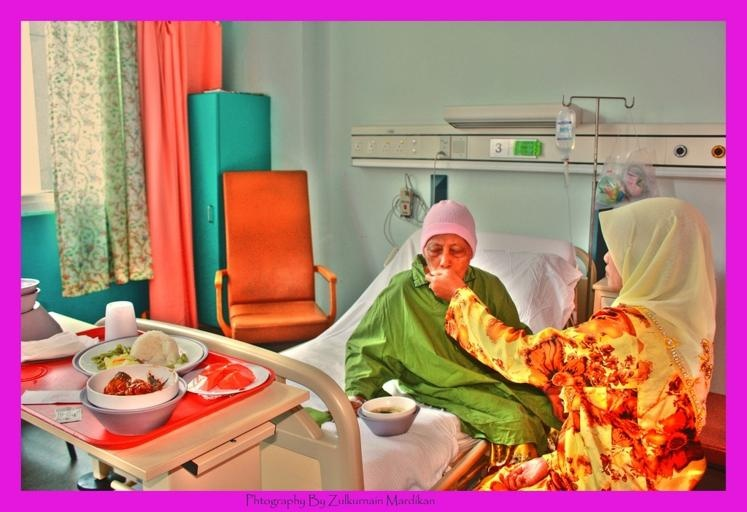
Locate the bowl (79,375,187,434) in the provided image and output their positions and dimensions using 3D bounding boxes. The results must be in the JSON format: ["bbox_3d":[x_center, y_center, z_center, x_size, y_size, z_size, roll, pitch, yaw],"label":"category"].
[{"bbox_3d":[-0.501,0.314,1.074,0.211,0.071,0.080,0,9,4],"label":"bowl"}]

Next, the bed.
[{"bbox_3d":[0.239,0.191,2.331,0.820,0.859,1.530,4,11,30],"label":"bed"}]

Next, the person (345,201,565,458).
[{"bbox_3d":[0.365,0.284,2.109,0.936,0.914,0.520,-9,10,-26],"label":"person"}]

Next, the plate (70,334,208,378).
[{"bbox_3d":[-0.593,0.250,1.346,0.160,0.037,0.159,3,12,-2],"label":"plate"}]

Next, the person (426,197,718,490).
[{"bbox_3d":[0.665,0.311,1.818,0.829,0.935,0.710,-3,3,5],"label":"person"}]

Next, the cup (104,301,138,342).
[{"bbox_3d":[-0.696,0.177,1.474,0.106,0.099,0.088,-1,6,-9],"label":"cup"}]

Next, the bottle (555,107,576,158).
[{"bbox_3d":[0.982,-0.622,2.735,0.092,0.261,0.162,3,10,19],"label":"bottle"}]

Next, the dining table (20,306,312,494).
[{"bbox_3d":[-0.424,0.387,1.159,0.441,0.280,0.448,16,20,33],"label":"dining table"}]

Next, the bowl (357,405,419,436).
[{"bbox_3d":[0.051,0.495,1.707,0.120,0.043,0.122,-2,3,0],"label":"bowl"}]

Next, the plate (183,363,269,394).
[{"bbox_3d":[-0.332,0.282,1.224,0.093,0.022,0.094,-5,11,-34],"label":"plate"}]

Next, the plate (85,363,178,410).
[{"bbox_3d":[-0.498,0.264,1.107,0.110,0.039,0.108,-4,8,-42],"label":"plate"}]
